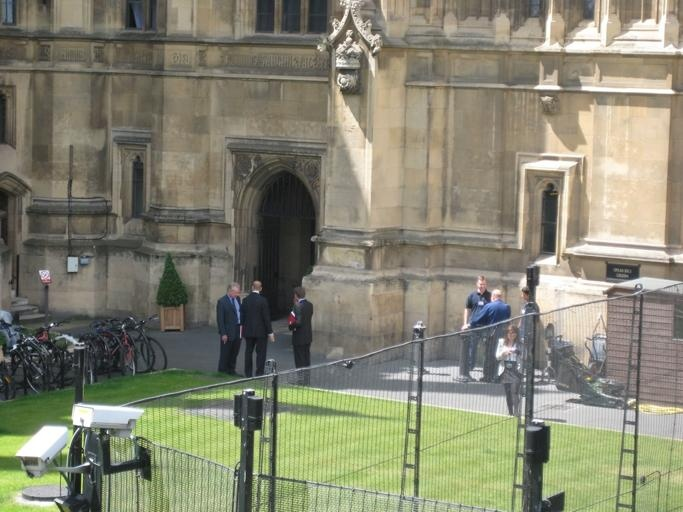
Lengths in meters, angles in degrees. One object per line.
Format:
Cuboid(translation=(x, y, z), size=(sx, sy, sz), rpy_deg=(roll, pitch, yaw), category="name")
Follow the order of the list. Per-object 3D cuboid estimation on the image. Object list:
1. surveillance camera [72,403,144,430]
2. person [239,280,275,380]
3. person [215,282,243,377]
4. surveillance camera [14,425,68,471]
Cuboid(translation=(-2.900, 1.944, 22.479), size=(0.866, 0.328, 0.343), rpy_deg=(0, -3, -7), category="surveillance camera")
Cuboid(translation=(-1.494, 1.259, 32.695), size=(0.552, 1.767, 0.521), rpy_deg=(5, 9, 18), category="person")
Cuboid(translation=(-2.046, 1.248, 32.929), size=(0.475, 1.577, 0.428), rpy_deg=(11, 12, 41), category="person")
Cuboid(translation=(-3.714, 2.378, 22.496), size=(0.607, 0.602, 0.393), rpy_deg=(0, -3, -10), category="surveillance camera")
